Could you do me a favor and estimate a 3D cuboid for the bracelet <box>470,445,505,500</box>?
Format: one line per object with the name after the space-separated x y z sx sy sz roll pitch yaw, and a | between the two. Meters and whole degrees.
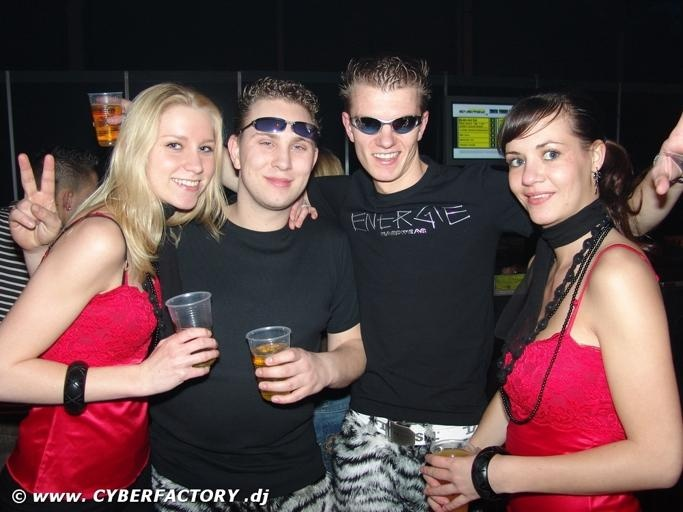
0.656 0.970 2.498 0.197 0.206 0.082 4 -4 -14 | bracelet

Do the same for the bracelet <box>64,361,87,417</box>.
-1.182 0.588 2.422 0.069 0.185 0.156 -1 -3 2 | bracelet

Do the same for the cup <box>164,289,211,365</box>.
-0.716 0.323 2.597 0.204 0.294 0.331 -5 21 -14 | cup
